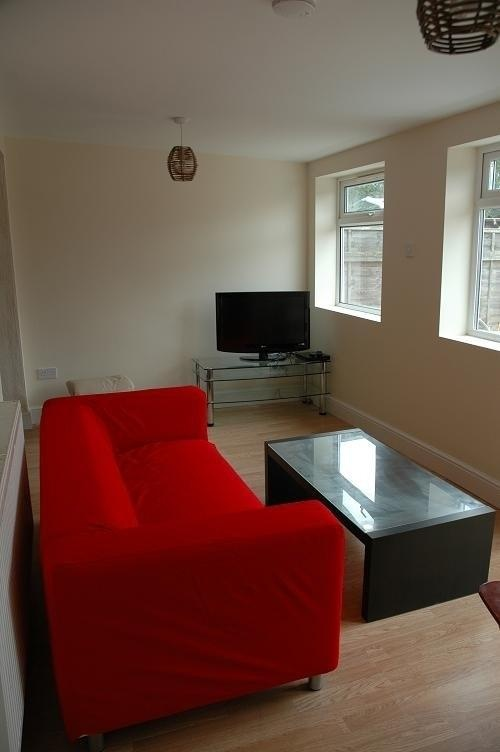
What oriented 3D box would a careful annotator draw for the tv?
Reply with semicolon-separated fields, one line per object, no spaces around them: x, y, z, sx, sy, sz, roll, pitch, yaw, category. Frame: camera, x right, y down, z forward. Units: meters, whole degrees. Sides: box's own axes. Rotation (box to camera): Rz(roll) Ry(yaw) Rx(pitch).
0.119;-0.474;4.955;0.599;0.467;0.161;-1;12;-6;tv

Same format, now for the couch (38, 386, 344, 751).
-0.346;0.540;2.100;0.825;0.627;1.448;-3;15;-18;couch
